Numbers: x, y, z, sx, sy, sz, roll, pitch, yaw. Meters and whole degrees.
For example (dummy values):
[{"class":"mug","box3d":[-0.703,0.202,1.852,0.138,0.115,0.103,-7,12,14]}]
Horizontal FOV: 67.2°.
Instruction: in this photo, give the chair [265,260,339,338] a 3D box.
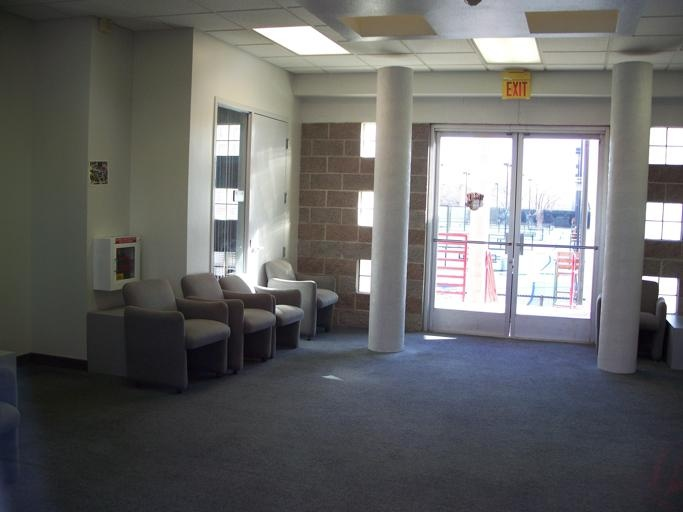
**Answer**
[{"class":"chair","box3d":[-0.685,0.559,7.790,1.045,1.302,1.126,0,2,17]}]

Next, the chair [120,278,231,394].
[{"class":"chair","box3d":[-1.745,0.808,5.871,1.152,1.350,0.966,1,4,25]}]

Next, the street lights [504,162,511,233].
[{"class":"street lights","box3d":[2.560,-0.880,7.916,0.098,1.107,0.073,0,4,12]}]

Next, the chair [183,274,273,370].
[{"class":"chair","box3d":[-1.346,0.742,6.461,1.085,1.326,0.947,1,2,23]}]

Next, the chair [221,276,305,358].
[{"class":"chair","box3d":[-1.035,0.772,6.769,0.934,1.078,0.784,-4,-1,15]}]

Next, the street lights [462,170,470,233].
[{"class":"street lights","box3d":[1.967,-0.897,8.065,0.111,0.899,0.059,0,4,8]}]
